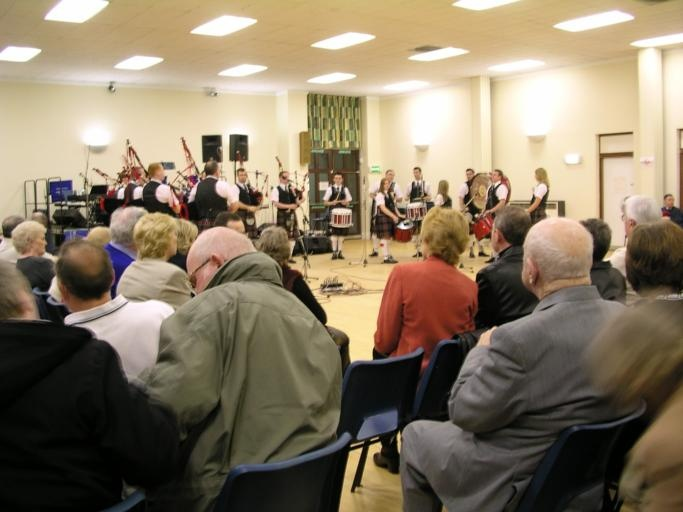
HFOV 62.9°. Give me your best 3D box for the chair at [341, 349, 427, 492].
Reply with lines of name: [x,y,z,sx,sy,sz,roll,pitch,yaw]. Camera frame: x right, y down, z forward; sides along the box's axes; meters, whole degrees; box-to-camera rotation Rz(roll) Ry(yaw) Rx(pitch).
chair: [0.146,0.608,2.256,0.340,0.560,0.368,-4,6,-35]

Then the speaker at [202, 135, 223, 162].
speaker: [-2.563,-2.113,11.058,0.401,0.518,0.361,-2,7,-10]

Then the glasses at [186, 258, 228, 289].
glasses: [-0.453,0.059,1.877,0.058,0.133,0.101,34,4,5]

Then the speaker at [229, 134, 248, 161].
speaker: [-2.056,-2.169,11.268,0.377,0.543,0.526,-3,8,-13]

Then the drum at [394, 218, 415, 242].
drum: [0.997,-0.409,8.898,0.276,0.319,0.308,5,8,13]

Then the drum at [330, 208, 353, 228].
drum: [-0.002,-0.646,9.665,0.295,0.305,0.314,3,4,30]
